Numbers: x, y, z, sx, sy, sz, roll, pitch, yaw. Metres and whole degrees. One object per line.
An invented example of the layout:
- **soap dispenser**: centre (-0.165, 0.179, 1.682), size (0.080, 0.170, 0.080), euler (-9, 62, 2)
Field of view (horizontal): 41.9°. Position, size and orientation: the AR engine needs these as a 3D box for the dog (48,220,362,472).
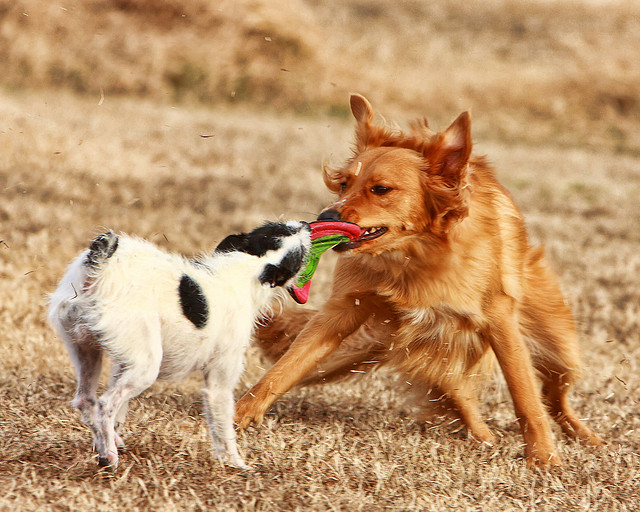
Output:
- **dog**: centre (-1.113, 0.661, 7.033), size (1.928, 2.151, 1.354), euler (-3, 44, -35)
